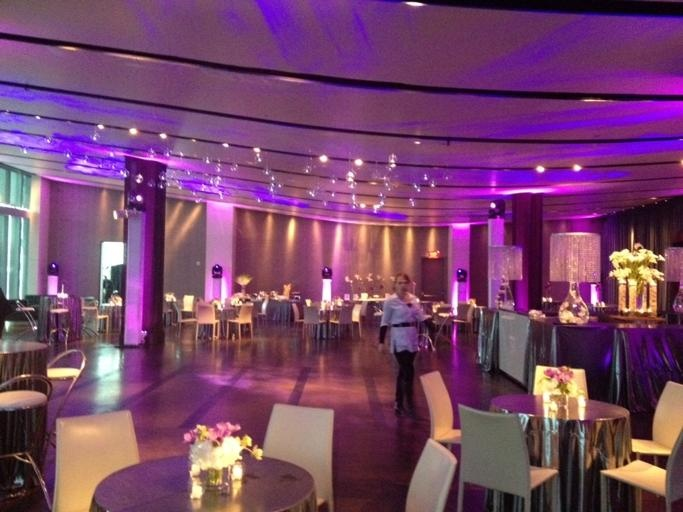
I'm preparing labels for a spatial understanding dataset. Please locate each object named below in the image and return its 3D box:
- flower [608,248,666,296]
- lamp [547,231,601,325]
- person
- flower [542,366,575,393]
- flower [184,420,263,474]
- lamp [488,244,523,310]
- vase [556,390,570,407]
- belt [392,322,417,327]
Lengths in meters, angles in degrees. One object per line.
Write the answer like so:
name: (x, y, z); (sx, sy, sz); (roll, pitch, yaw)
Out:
flower: (4.420, 0.143, 8.006); (0.592, 0.629, 0.653); (5, -7, -4)
lamp: (3.104, 0.275, 7.085); (0.568, 1.237, 0.812); (0, -1, 24)
person: (0.860, 1.124, 7.018); (0.640, 1.796, 0.541); (0, -1, 10)
flower: (1.890, 1.056, 4.628); (0.199, 0.216, 0.220); (-2, -1, 9)
flower: (-0.806, 1.159, 3.245); (0.209, 0.246, 0.246); (-12, -23, -7)
lamp: (2.955, 0.268, 9.551); (0.578, 1.214, 0.587); (-3, 17, 9)
vase: (1.871, 1.200, 4.516); (0.104, 0.220, 0.111); (-1, -12, 20)
belt: (0.830, 0.875, 6.909); (0.318, 0.070, 0.139); (1, -2, -22)
